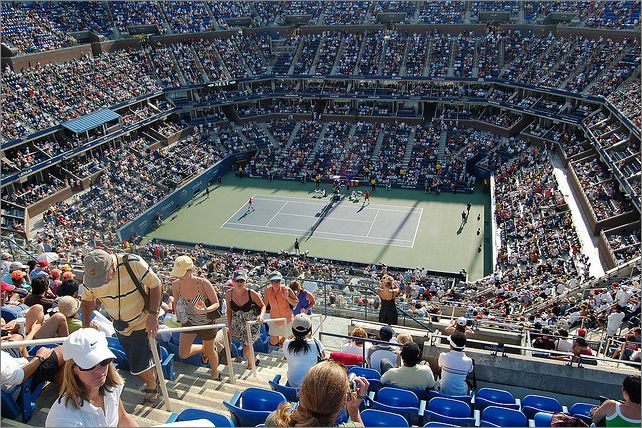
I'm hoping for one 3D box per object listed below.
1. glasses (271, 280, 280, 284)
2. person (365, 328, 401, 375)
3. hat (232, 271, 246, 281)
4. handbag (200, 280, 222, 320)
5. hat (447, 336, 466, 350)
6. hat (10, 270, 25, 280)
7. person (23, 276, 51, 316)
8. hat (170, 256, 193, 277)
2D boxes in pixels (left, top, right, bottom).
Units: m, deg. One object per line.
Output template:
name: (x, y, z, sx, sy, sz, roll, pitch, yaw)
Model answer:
glasses: (-1.387, 2.090, 15.623, 0.272, 0.098, 0.165, 12, -21, -3)
person: (1.868, 3.974, 14.820, 1.120, 1.820, 1.038, 1, 0, 13)
hat: (-2.372, 1.867, 15.001, 0.262, 0.360, 0.351, 18, -16, -24)
handbag: (-3.074, 2.500, 14.946, 0.431, 1.113, 0.769, -21, 4, -33)
hat: (3.662, 3.463, 13.794, 0.314, 0.416, 0.420, -5, 16, -16)
hat: (-10.120, 2.066, 16.949, 0.369, 0.356, 0.431, 21, -23, -25)
person: (-8.044, 2.266, 14.565, 0.878, 0.963, 0.596, 15, 22, 6)
hat: (-3.882, 1.479, 14.339, 0.518, 0.623, 0.524, 16, -21, -14)
